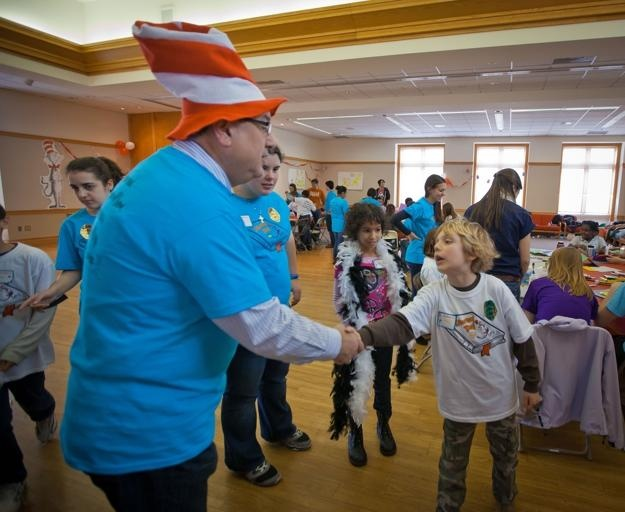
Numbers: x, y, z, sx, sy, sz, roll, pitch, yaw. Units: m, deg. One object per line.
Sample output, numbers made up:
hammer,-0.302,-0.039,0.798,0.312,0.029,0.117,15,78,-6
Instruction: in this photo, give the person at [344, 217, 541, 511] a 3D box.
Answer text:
person,0.602,0.603,1.771,0.721,1.155,0.280,-1,13,-5

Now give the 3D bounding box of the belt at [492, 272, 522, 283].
belt,1.414,0.159,2.897,0.139,0.038,0.124,1,0,-15

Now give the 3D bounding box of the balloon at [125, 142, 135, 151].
balloon,-4.982,-3.014,11.098,0.256,0.212,0.223,-15,7,45

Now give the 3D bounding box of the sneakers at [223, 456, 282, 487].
sneakers,-0.315,1.116,2.134,0.276,0.109,0.104,1,8,15

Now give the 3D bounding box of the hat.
hat,-0.279,-0.498,1.138,0.421,0.256,0.263,-2,33,7

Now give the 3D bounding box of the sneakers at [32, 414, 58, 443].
sneakers,-1.623,1.036,2.452,0.092,0.197,0.086,-1,1,3

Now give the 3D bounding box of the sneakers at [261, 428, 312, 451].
sneakers,-0.159,1.085,2.414,0.260,0.115,0.112,1,7,5
